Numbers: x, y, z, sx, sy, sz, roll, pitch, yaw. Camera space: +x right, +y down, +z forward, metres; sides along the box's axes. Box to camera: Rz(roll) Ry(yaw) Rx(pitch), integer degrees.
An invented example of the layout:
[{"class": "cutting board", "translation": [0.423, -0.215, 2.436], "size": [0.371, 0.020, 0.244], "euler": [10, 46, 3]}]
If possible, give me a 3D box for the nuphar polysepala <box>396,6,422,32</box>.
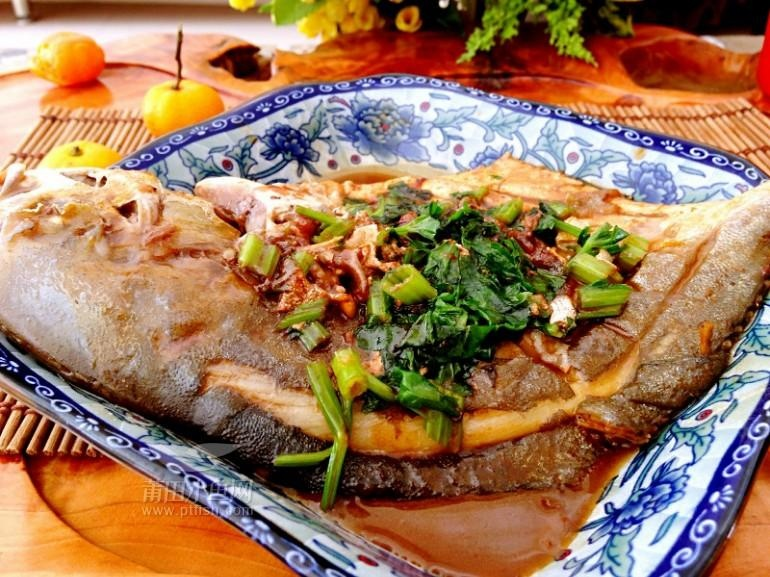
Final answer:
[{"class": "nuphar polysepala", "translation": [0.169, -1.993, 5.243], "size": [0.177, 0.188, 0.173], "euler": [-5, 56, -1]}]
